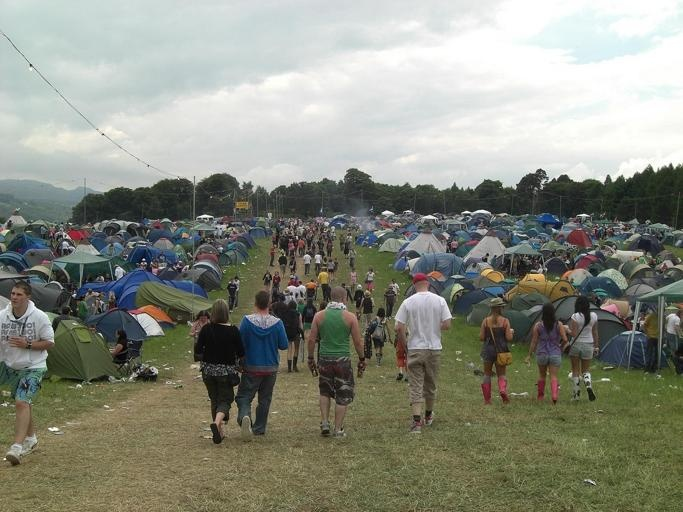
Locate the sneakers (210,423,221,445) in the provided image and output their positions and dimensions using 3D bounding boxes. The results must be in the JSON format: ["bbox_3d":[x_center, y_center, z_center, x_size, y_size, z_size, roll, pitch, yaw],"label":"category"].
[{"bbox_3d":[-1.971,2.800,10.060,0.158,0.350,0.145,-6,6,2],"label":"sneakers"}]

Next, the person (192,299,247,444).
[{"bbox_3d":[-1.938,1.862,10.116,0.744,2.321,0.398,-1,3,-14],"label":"person"}]

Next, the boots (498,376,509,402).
[{"bbox_3d":[3.193,2.632,12.540,0.204,0.617,0.411,-5,31,12],"label":"boots"}]

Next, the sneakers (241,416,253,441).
[{"bbox_3d":[-1.504,2.764,10.113,0.156,0.437,0.166,-4,5,-2],"label":"sneakers"}]

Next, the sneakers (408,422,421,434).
[{"bbox_3d":[1.241,2.890,10.709,0.111,0.156,0.247,2,-2,-22],"label":"sneakers"}]

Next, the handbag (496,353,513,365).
[{"bbox_3d":[3.043,1.921,11.880,0.301,0.295,0.132,-1,-3,-38],"label":"handbag"}]

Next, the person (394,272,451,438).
[{"bbox_3d":[1.380,1.635,10.680,0.881,2.641,0.383,0,3,5],"label":"person"}]

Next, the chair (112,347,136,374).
[{"bbox_3d":[-5.665,2.758,16.625,0.602,0.809,0.621,2,3,38],"label":"chair"}]

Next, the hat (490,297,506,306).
[{"bbox_3d":[2.980,0.891,12.026,0.240,0.084,0.240,1,1,6],"label":"hat"}]

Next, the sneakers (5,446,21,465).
[{"bbox_3d":[-4.769,2.893,9.204,0.141,0.176,0.390,7,-40,-17],"label":"sneakers"}]

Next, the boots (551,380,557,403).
[{"bbox_3d":[4.207,2.667,12.484,0.135,0.444,0.192,-6,25,12],"label":"boots"}]
